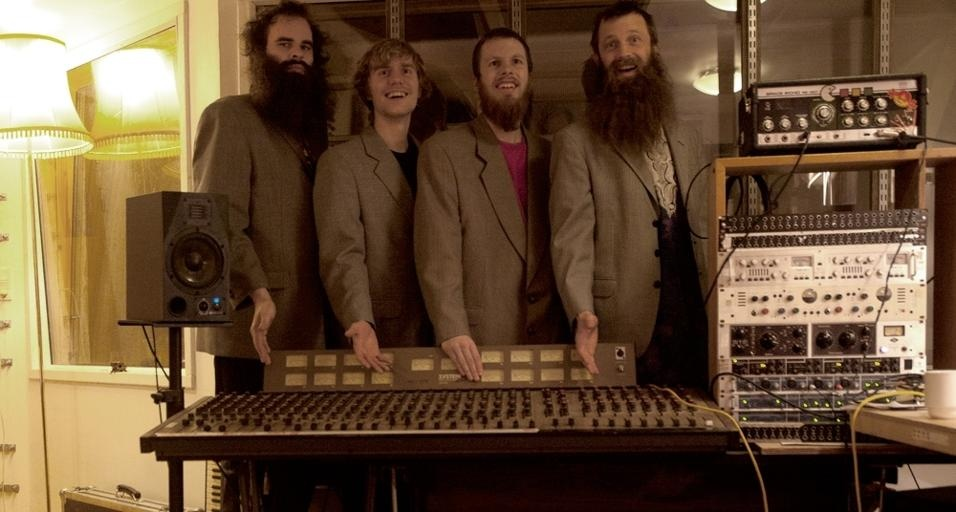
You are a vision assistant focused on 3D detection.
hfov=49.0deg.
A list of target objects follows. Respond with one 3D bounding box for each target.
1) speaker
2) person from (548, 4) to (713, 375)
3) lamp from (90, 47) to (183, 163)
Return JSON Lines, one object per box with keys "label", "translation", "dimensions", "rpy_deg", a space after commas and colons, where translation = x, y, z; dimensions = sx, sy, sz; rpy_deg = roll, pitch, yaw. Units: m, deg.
{"label": "speaker", "translation": [-2.066, 0.022, 7.055], "dimensions": [0.689, 0.840, 0.231], "rpy_deg": [-2, 0, 10]}
{"label": "person", "translation": [0.990, -0.459, 7.460], "dimensions": [1.089, 2.726, 0.494], "rpy_deg": [-2, 0, -25]}
{"label": "lamp", "translation": [-2.856, -1.250, 8.982], "dimensions": [1.050, 0.932, 0.941], "rpy_deg": [-1, -2, 2]}
